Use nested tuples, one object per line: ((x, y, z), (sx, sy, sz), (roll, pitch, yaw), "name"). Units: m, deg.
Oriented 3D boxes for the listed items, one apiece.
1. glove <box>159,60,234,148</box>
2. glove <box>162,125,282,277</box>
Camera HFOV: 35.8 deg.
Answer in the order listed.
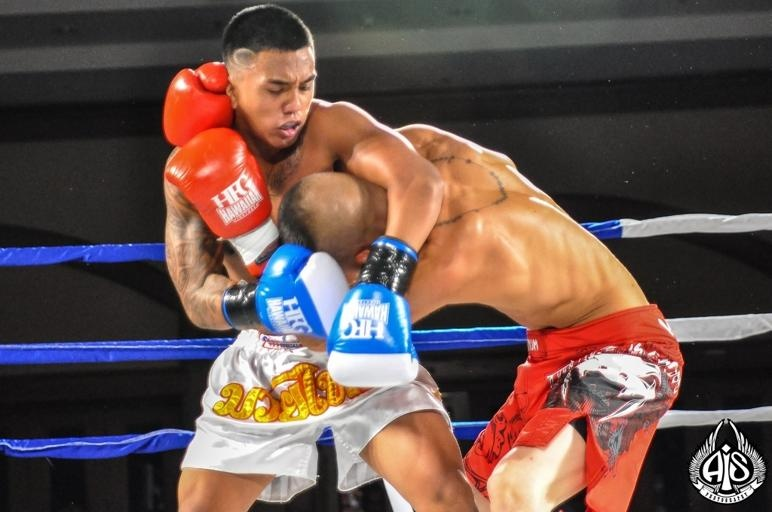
((-0.848, -0.682, 5.333), (0.289, 0.367, 0.159), (34, 13, 39), "glove")
((-0.646, -0.215, 5.345), (0.417, 0.689, 0.276), (-40, 9, -17), "glove")
